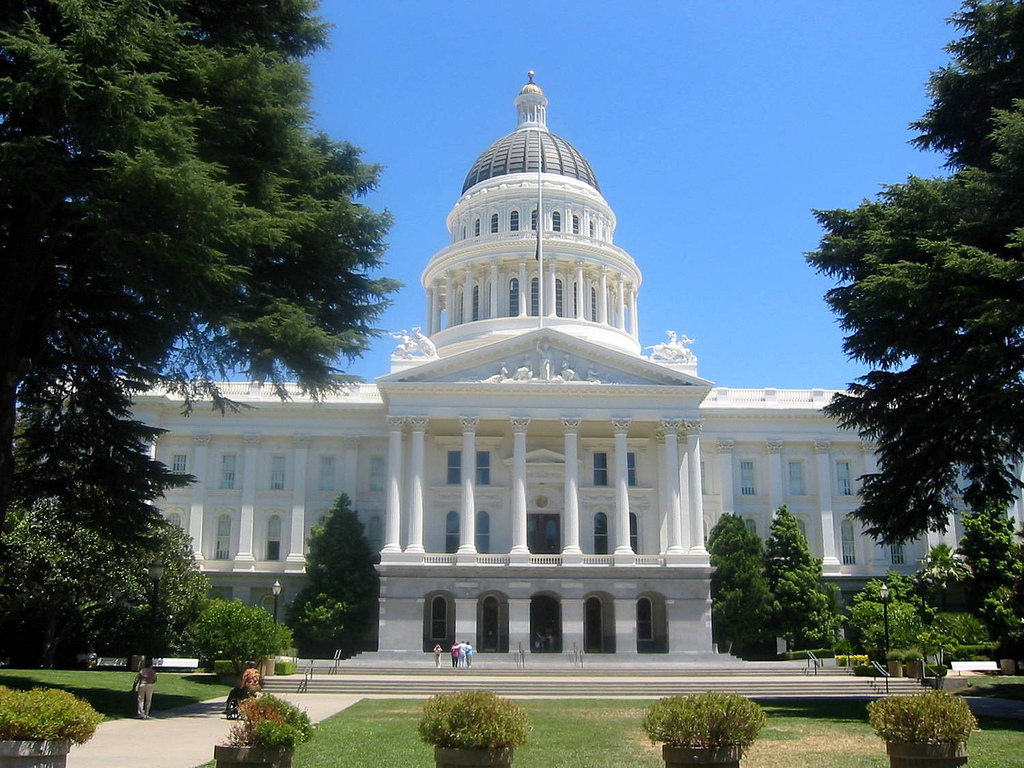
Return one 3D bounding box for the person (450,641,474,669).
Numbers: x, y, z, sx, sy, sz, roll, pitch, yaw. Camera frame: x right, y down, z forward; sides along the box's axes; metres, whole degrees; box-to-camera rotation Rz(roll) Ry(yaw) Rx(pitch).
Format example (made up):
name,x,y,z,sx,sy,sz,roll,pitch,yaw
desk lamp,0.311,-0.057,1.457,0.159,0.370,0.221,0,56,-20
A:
name,x,y,z,sx,sy,sz,roll,pitch,yaw
person,-2.375,12.776,48.361,0.826,1.056,1.250,1,-14,-6
